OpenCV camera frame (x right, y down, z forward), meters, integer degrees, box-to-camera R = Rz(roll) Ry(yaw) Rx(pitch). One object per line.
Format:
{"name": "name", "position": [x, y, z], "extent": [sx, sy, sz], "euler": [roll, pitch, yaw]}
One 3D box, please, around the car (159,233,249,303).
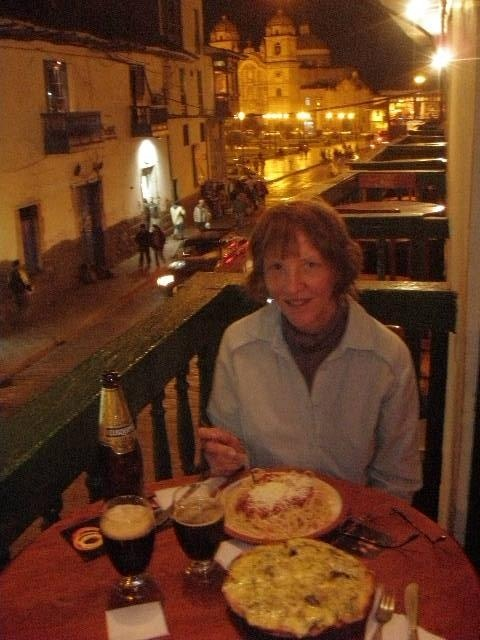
{"name": "car", "position": [-1.061, -2.123, 17.781], "extent": [2.148, 1.068, 3.444], "euler": [9, 37, 42]}

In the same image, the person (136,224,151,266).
{"name": "person", "position": [-4.005, -2.994, 22.311], "extent": [0.603, 1.472, 1.151], "euler": [-9, 15, -9]}

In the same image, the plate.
{"name": "plate", "position": [0.101, 0.527, 1.571], "extent": [0.397, 0.056, 0.417], "euler": [-7, 11, -7]}

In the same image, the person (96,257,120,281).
{"name": "person", "position": [-5.156, -1.972, 20.658], "extent": [0.837, 0.686, 1.603], "euler": [-9, 15, -11]}

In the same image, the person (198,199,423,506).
{"name": "person", "position": [0.272, 0.293, 2.184], "extent": [0.937, 1.526, 0.794], "euler": [-1, 12, 2]}

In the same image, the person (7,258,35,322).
{"name": "person", "position": [-6.413, -0.867, 15.640], "extent": [0.390, 1.812, 0.750], "euler": [-3, 15, 14]}
